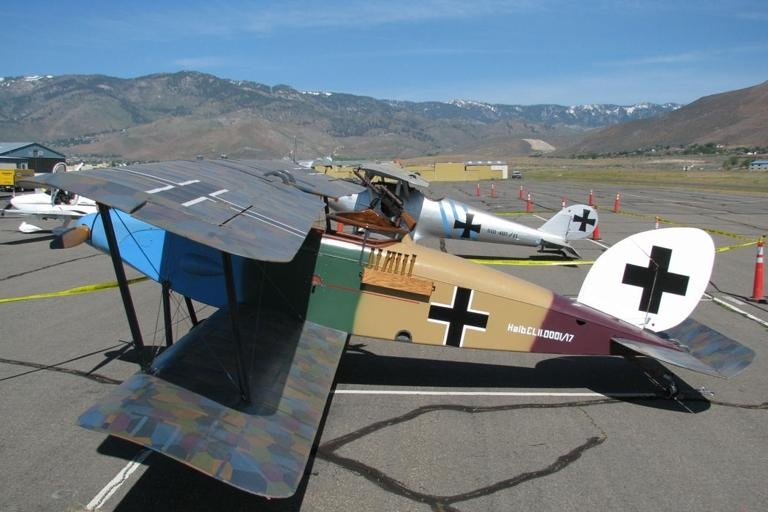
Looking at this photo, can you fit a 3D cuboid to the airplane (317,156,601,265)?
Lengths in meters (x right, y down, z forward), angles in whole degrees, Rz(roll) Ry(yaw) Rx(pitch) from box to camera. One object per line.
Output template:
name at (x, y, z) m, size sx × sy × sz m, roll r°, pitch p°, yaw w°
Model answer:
airplane at (2.091, -0.976, 17.804) m, size 9.145 × 1.943 × 8.272 m, roll 8°, pitch -5°, yaw -10°
